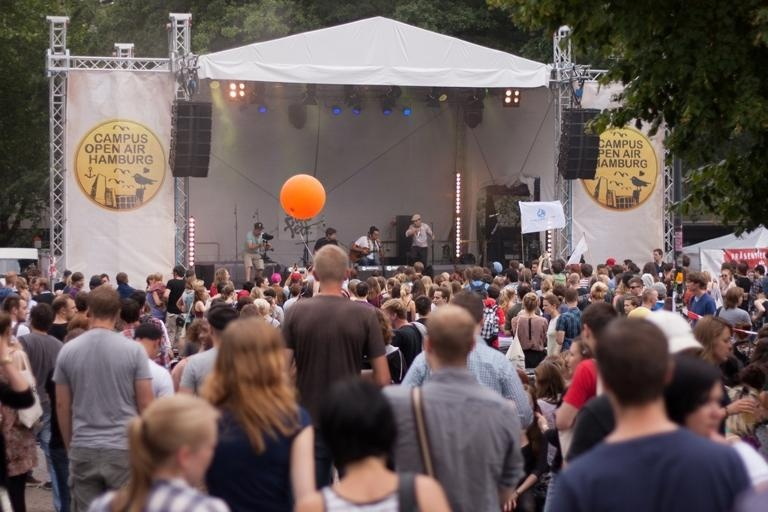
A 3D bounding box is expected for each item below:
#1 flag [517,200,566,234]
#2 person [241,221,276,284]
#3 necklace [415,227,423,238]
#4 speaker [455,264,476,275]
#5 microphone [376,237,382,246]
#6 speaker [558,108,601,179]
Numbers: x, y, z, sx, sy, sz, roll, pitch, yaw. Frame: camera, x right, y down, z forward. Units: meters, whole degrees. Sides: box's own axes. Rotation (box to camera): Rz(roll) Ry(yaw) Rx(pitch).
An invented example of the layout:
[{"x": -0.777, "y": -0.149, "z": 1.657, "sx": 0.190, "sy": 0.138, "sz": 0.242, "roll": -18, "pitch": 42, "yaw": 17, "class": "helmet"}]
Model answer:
[{"x": 3.469, "y": -0.881, "z": 28.270, "sx": 1.002, "sy": 0.666, "sz": 0.701, "roll": 0, "pitch": 1, "yaw": -36, "class": "flag"}, {"x": -3.110, "y": -0.104, "z": 32.319, "sx": 0.897, "sy": 2.070, "sz": 0.735, "roll": 5, "pitch": 1, "yaw": -13, "class": "person"}, {"x": 0.948, "y": -0.633, "z": 33.871, "sx": 0.178, "sy": 0.332, "sz": 0.175, "roll": -2, "pitch": 7, "yaw": -5, "class": "necklace"}, {"x": 1.752, "y": 0.205, "z": 27.609, "sx": 0.419, "sy": 0.304, "sz": 0.235, "roll": 1, "pitch": -7, "yaw": -11, "class": "speaker"}, {"x": -0.121, "y": -0.382, "z": 33.335, "sx": 0.267, "sy": 0.150, "sz": 0.390, "roll": 1, "pitch": 7, "yaw": 1, "class": "microphone"}, {"x": 4.491, "y": -2.602, "z": 29.493, "sx": 0.894, "sy": 1.614, "sz": 0.853, "roll": 1, "pitch": 1, "yaw": 7, "class": "speaker"}]
